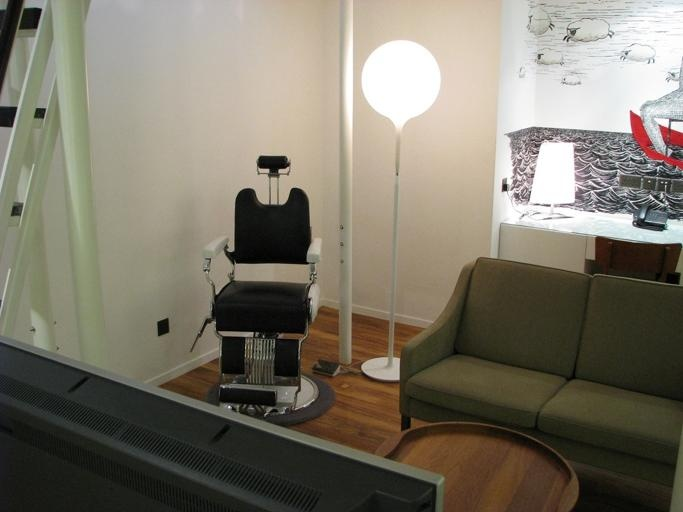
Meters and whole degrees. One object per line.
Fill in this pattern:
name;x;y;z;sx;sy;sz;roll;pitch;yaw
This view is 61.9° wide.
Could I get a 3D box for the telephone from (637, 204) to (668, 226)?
telephone;2.384;-0.306;4.380;0.198;0.076;0.155;11;53;33
